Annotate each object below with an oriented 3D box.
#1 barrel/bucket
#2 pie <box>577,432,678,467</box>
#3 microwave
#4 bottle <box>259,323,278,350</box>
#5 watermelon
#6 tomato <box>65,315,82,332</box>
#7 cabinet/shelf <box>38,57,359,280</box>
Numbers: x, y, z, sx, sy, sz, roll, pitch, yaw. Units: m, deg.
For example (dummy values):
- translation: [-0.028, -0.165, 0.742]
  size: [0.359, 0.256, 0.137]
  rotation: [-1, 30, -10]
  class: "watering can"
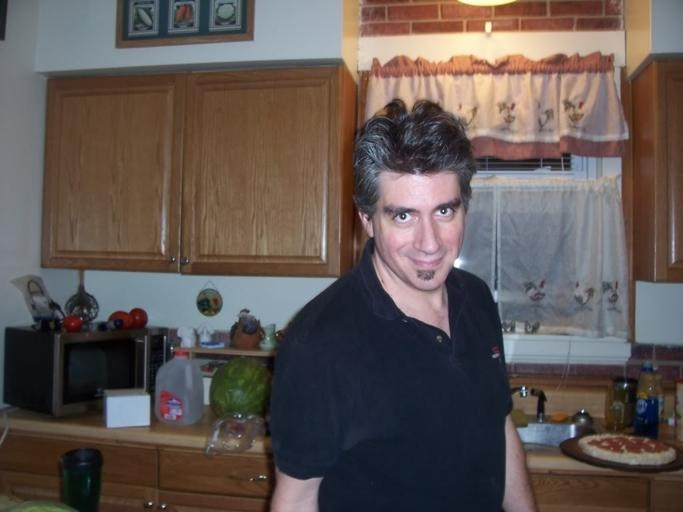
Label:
- translation: [-0.802, 0.649, 3.247]
  size: [0.170, 0.391, 0.160]
  rotation: [2, 7, 0]
  class: "barrel/bucket"
- translation: [1.280, 0.857, 2.947]
  size: [0.415, 0.062, 0.254]
  rotation: [0, 4, 18]
  class: "pie"
- translation: [-1.319, 0.547, 3.349]
  size: [0.428, 0.409, 0.633]
  rotation: [-1, -2, 40]
  class: "microwave"
- translation: [-0.377, 0.430, 3.444]
  size: [0.083, 0.122, 0.114]
  rotation: [4, -9, -17]
  class: "bottle"
- translation: [-0.470, 0.618, 3.258]
  size: [0.254, 0.341, 0.276]
  rotation: [-11, -9, 37]
  class: "watermelon"
- translation: [-1.334, 0.335, 3.275]
  size: [0.032, 0.051, 0.064]
  rotation: [-15, -2, 31]
  class: "tomato"
- translation: [-0.679, -0.448, 3.291]
  size: [1.712, 1.084, 0.556]
  rotation: [1, -2, 8]
  class: "cabinet/shelf"
